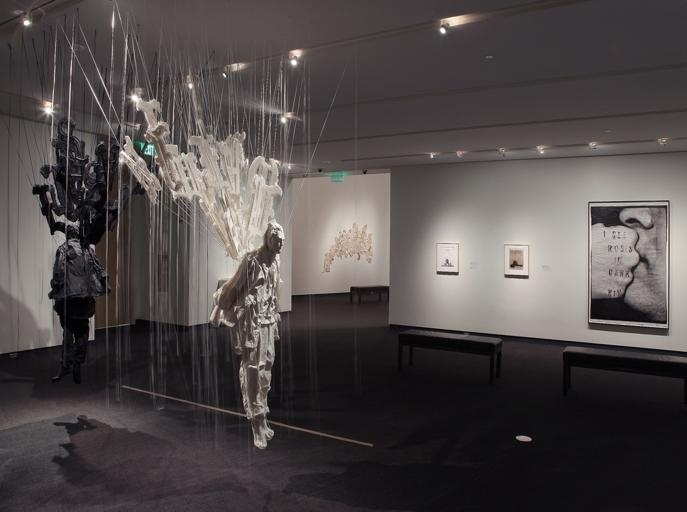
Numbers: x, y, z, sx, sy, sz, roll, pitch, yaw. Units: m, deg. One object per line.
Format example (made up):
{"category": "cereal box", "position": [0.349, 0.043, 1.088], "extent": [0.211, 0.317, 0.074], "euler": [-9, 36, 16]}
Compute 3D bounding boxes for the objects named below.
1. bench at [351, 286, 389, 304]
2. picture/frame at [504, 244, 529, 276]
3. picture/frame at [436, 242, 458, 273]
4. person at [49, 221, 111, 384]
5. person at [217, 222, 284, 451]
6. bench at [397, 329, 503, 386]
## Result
{"category": "bench", "position": [0.769, 1.106, 14.322], "extent": [1.091, 0.551, 1.881], "euler": [1, 5, 3]}
{"category": "picture/frame", "position": [3.455, 0.067, 9.504], "extent": [0.530, 0.852, 0.043], "euler": [-1, -3, 30]}
{"category": "picture/frame", "position": [2.206, 0.022, 10.100], "extent": [0.540, 0.844, 0.057], "euler": [0, -1, 33]}
{"category": "person", "position": [-3.409, 0.648, 6.187], "extent": [0.650, 2.088, 0.989], "euler": [-3, 6, -33]}
{"category": "person", "position": [-0.830, 0.702, 4.255], "extent": [0.571, 2.045, 0.379], "euler": [-1, 5, -14]}
{"category": "bench", "position": [1.661, 1.465, 7.492], "extent": [1.547, 0.560, 1.045], "euler": [3, 6, 25]}
